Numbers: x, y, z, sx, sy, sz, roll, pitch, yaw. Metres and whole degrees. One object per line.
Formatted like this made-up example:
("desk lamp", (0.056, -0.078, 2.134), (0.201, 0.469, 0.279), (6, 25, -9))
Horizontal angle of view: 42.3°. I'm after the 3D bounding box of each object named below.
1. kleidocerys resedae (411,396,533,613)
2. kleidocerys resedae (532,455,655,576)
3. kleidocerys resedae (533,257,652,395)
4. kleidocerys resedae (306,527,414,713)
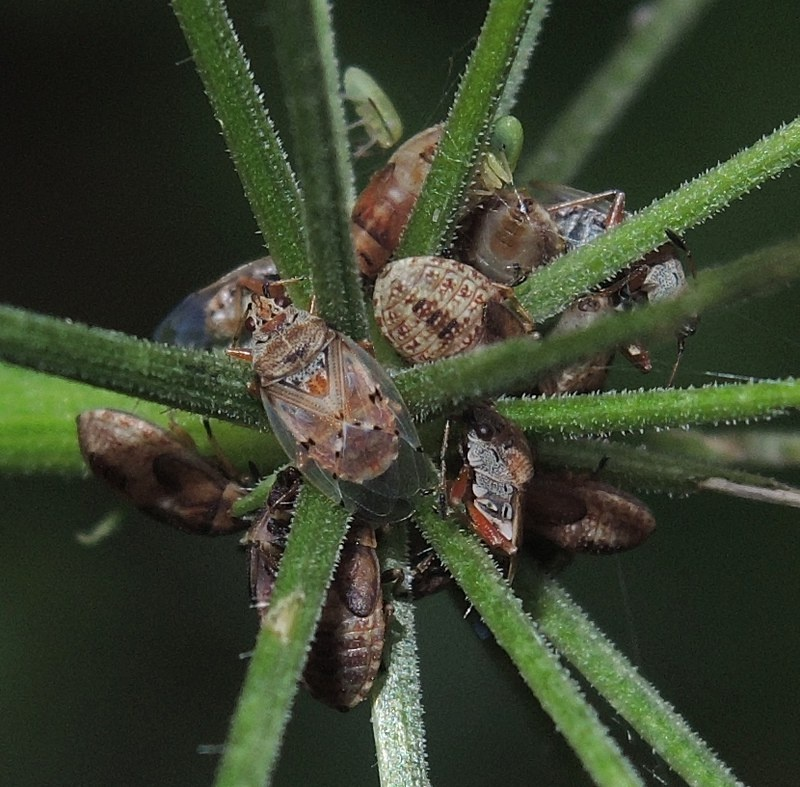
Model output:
("kleidocerys resedae", (0.082, 0.194, 1.880), (0.298, 0.106, 0.297), (3, 101, -39))
("kleidocerys resedae", (0.335, 0.216, 1.920), (0.228, 0.096, 0.175), (44, 82, 2))
("kleidocerys resedae", (0.327, -0.129, 1.799), (0.255, 0.194, 0.073), (-38, 72, -2))
("kleidocerys resedae", (-0.084, 0.400, 1.867), (0.213, 0.104, 0.281), (11, 98, 26))
